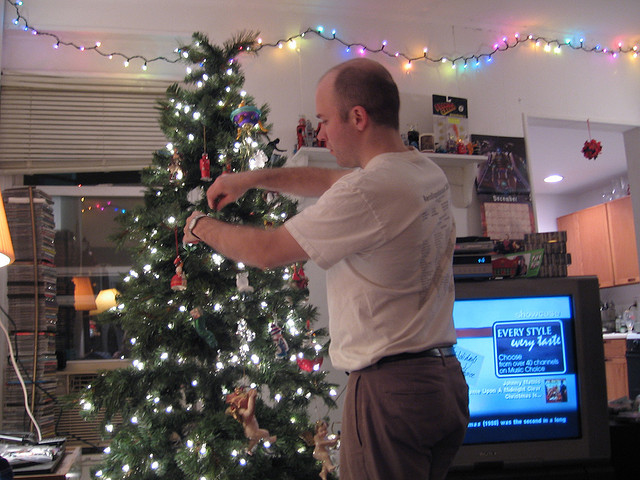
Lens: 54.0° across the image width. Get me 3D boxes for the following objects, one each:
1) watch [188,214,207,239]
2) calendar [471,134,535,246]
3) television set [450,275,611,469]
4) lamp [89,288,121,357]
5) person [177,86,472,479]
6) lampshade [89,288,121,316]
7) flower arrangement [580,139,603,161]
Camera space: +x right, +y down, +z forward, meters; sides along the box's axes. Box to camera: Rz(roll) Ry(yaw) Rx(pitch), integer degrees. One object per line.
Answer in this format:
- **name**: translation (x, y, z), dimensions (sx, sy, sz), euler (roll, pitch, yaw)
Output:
- **watch**: translation (-0.563, -0.062, 2.878), dimensions (0.092, 0.108, 0.022), euler (-3, -3, 19)
- **calendar**: translation (1.430, -0.375, 4.918), dimensions (0.424, 0.947, 0.004), euler (2, -22, -3)
- **television set**: translation (1.223, 0.821, 3.733), dimensions (1.057, 1.159, 0.614), euler (-1, -1, -3)
- **lamp**: translation (-1.545, 0.611, 4.499), dimensions (0.211, 0.510, 0.222), euler (2, -6, -5)
- **person**: translation (0.154, 0.175, 2.815), dimensions (0.937, 1.750, 0.370), euler (-2, -3, 13)
- **lampshade**: translation (-1.436, 0.417, 4.176), dimensions (0.173, 0.180, 0.191), euler (2, -16, -8)
- **flower arrangement**: translation (2.300, -0.770, 5.350), dimensions (0.130, 0.187, 0.366), euler (-3, -2, 23)
